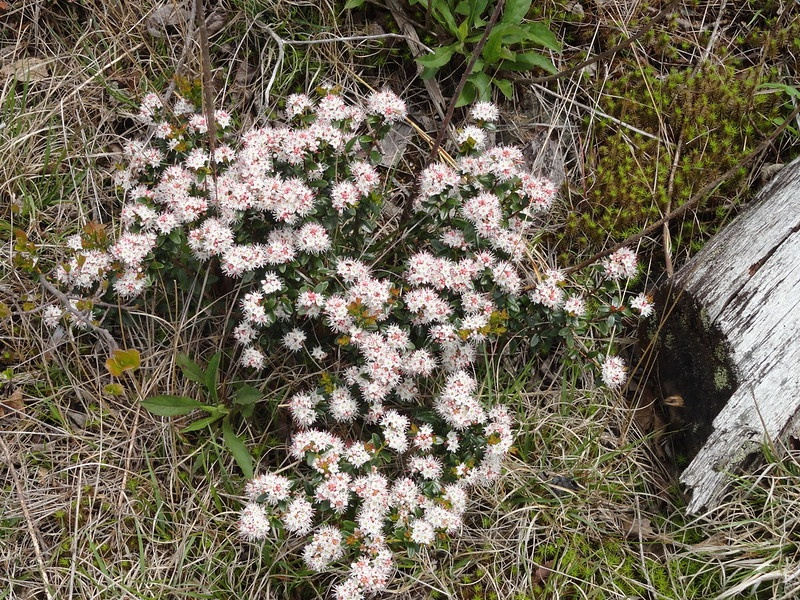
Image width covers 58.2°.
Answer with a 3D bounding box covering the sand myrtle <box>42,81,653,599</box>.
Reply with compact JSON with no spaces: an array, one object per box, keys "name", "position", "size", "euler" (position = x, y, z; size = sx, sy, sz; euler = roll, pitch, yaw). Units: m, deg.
[{"name":"sand myrtle","position":[-0.279,0.055,5.130],"size":[2.652,1.413,3.264],"euler":[-2,86,-3]}]
